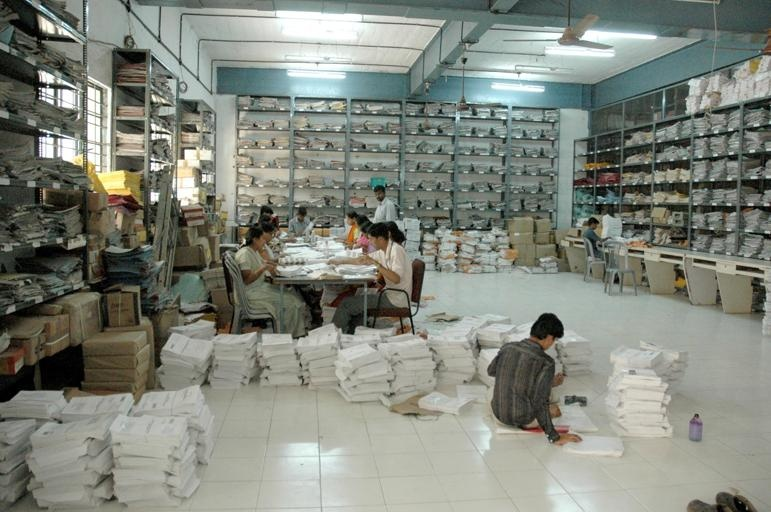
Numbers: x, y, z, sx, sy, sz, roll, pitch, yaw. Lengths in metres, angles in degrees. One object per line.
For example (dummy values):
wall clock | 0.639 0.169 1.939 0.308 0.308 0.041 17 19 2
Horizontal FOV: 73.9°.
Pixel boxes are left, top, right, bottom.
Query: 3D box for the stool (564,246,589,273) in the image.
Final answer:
stool | 4.074 0.069 10.979 0.661 0.503 0.537 -1 -2 1

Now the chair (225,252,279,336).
chair | -1.431 0.403 5.376 0.486 0.947 0.902 -1 6 -15

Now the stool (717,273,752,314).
stool | 4.891 0.567 7.395 0.490 0.596 0.440 1 -23 10

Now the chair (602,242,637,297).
chair | 3.976 0.199 8.822 0.503 0.721 0.523 -3 -10 43

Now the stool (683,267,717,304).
stool | 4.764 0.427 7.702 0.617 0.604 0.212 -1 7 -17

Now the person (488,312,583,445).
person | 1.079 0.889 3.751 0.647 0.937 0.212 2 7 8

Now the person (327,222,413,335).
person | -0.118 0.216 5.378 0.787 1.146 0.754 1 6 2

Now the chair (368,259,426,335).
chair | 0.107 0.551 5.497 0.698 0.856 0.583 -3 -1 11
